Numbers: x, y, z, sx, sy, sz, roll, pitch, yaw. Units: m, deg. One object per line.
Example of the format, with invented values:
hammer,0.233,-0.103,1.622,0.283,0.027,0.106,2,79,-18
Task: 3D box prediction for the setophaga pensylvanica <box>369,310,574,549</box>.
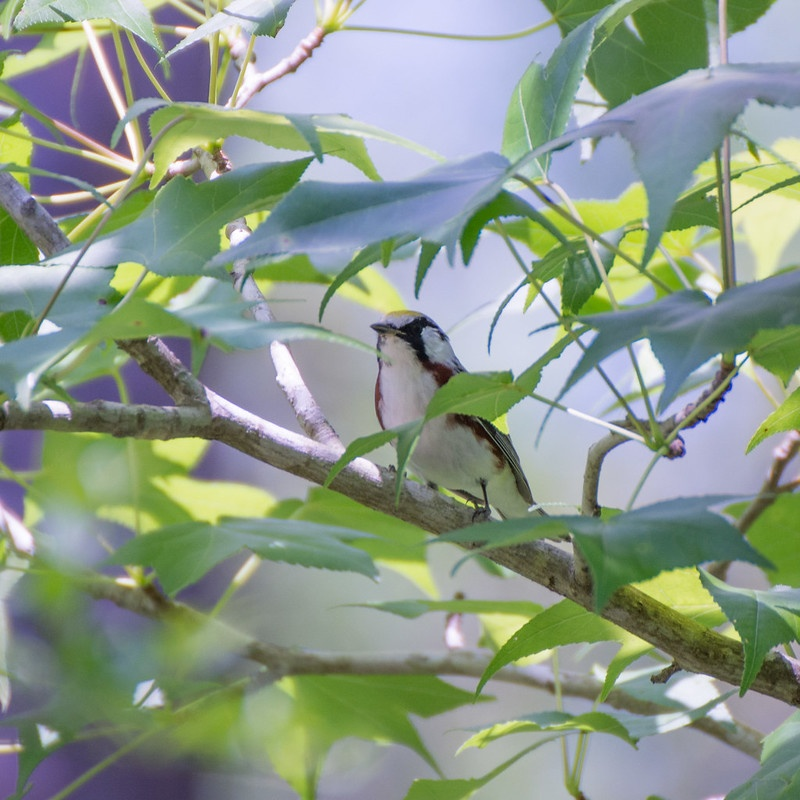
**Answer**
setophaga pensylvanica,0.121,0.120,2.541,0.241,0.627,0.460,-21,-45,14
